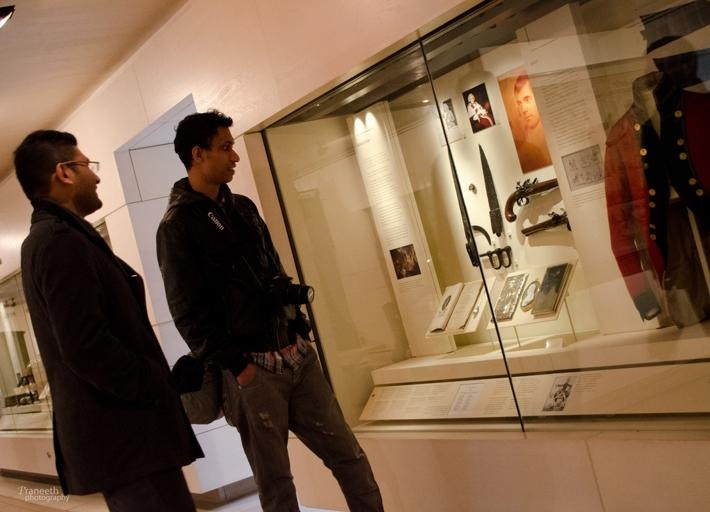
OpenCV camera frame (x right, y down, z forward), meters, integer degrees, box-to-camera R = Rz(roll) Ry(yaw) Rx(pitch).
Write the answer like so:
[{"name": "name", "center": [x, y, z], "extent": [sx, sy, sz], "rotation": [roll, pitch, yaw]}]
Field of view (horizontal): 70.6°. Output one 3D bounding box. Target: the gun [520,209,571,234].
[{"name": "gun", "center": [0.828, -0.130, 2.196], "extent": [0.060, 0.079, 0.215], "rotation": [9, -26, -33]}]

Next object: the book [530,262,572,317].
[{"name": "book", "center": [0.857, 0.145, 2.157], "extent": [0.036, 0.278, 0.156], "rotation": [17, 4, -44]}]

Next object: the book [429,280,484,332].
[{"name": "book", "center": [0.543, 0.254, 2.611], "extent": [0.030, 0.206, 0.283], "rotation": [23, -5, -22]}]
